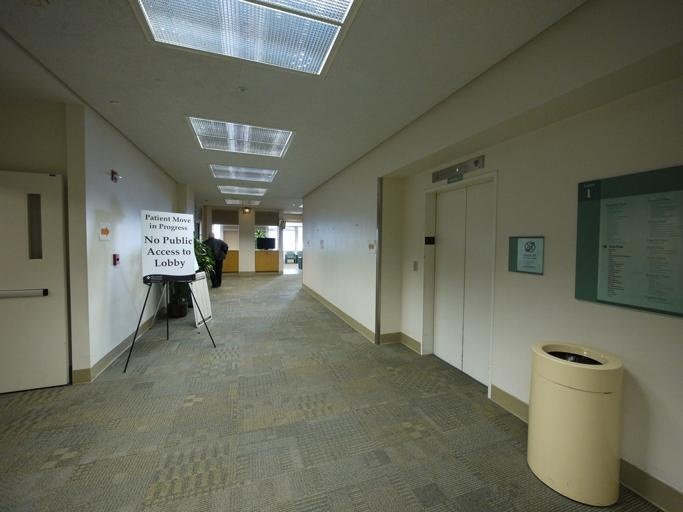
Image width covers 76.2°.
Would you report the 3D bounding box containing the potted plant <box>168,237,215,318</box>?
[{"bbox_3d":[-2.718,0.371,7.895,0.736,1.323,1.143,-1,6,-16],"label":"potted plant"}]
